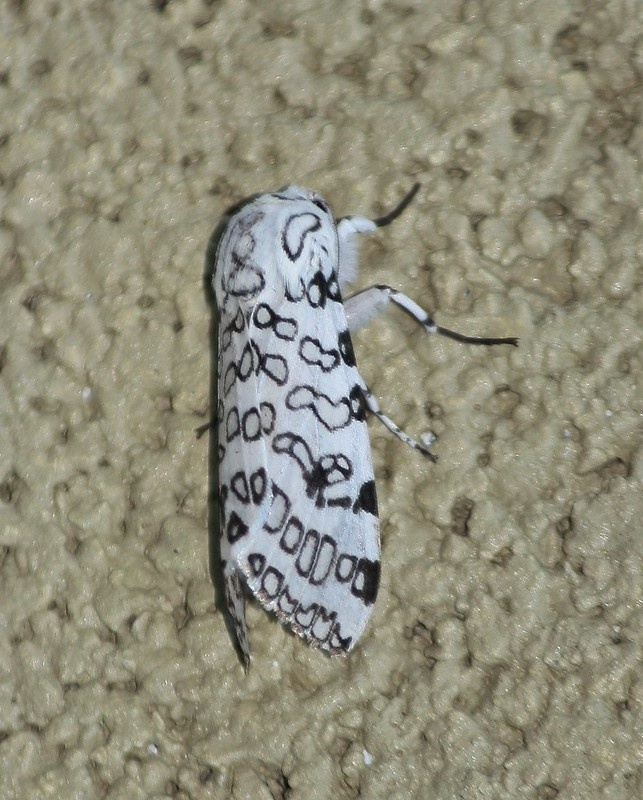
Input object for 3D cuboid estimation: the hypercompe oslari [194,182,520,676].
[{"bbox_3d":[-0.077,0.040,2.864,0.406,0.326,1.240,-3,85,0],"label":"hypercompe oslari"}]
